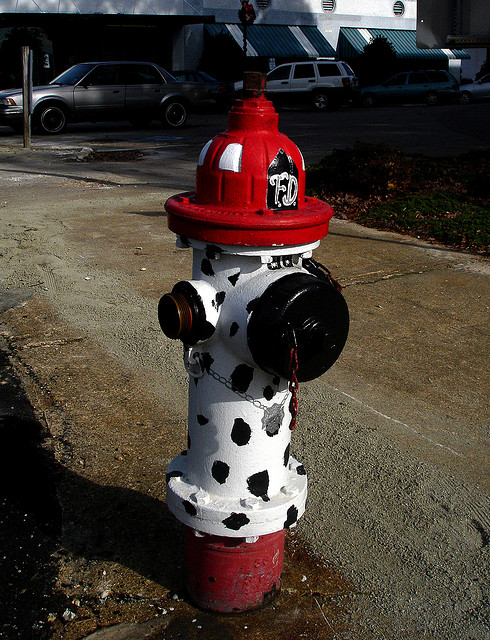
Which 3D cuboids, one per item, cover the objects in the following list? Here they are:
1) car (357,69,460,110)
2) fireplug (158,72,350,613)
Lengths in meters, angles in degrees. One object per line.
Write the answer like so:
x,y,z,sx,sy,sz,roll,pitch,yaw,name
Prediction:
7.689,-10.561,28.889,4.507,1.720,0.674,-1,17,-10,car
0.004,0.175,1.980,0.610,1.812,0.463,5,18,11,fireplug
